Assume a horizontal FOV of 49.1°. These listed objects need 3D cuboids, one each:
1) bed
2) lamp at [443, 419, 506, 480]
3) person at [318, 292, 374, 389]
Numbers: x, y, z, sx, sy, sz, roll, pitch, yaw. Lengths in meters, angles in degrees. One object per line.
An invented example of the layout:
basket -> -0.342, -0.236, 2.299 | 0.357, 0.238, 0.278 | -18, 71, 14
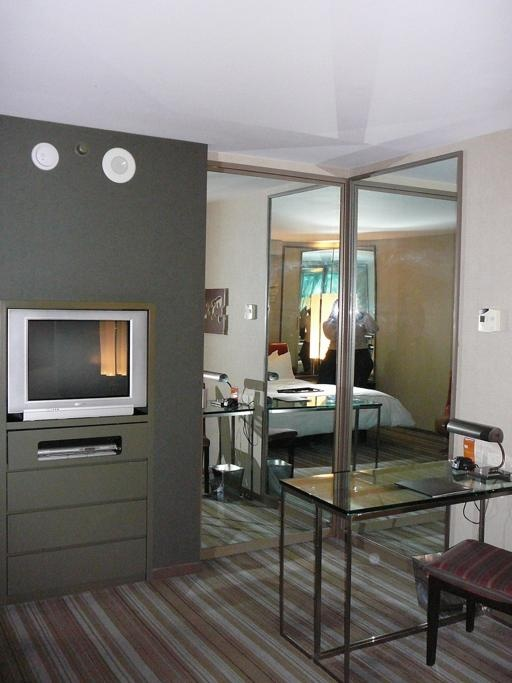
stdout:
bed -> 0.493, 0.356, 3.785 | 0.730, 0.298, 0.662 | -2, 5, -11
lamp -> 1.133, 0.517, 2.822 | 0.138, 0.315, 0.403 | -5, 8, -29
person -> 0.629, 0.064, 3.972 | 0.380, 1.115, 0.361 | 3, 24, 12
